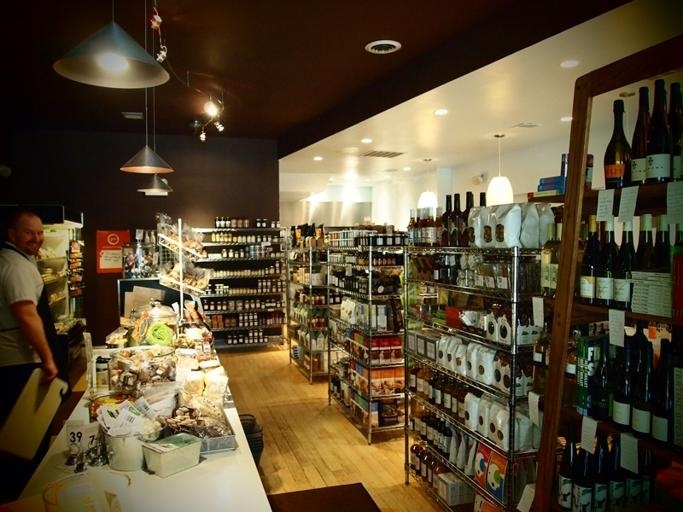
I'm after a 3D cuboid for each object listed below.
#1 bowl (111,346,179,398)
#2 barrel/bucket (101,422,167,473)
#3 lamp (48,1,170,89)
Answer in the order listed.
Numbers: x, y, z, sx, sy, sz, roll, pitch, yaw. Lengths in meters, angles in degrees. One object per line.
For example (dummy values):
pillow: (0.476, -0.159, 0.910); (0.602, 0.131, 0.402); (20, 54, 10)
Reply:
bowl: (-1.160, 0.680, 3.052); (0.308, 0.211, 0.329); (0, -6, 0)
barrel/bucket: (-1.110, 1.001, 2.602); (0.198, 0.150, 0.218); (2, -5, -23)
lamp: (-1.297, -1.049, 2.894); (0.449, 0.535, 0.475); (-5, -6, 20)
